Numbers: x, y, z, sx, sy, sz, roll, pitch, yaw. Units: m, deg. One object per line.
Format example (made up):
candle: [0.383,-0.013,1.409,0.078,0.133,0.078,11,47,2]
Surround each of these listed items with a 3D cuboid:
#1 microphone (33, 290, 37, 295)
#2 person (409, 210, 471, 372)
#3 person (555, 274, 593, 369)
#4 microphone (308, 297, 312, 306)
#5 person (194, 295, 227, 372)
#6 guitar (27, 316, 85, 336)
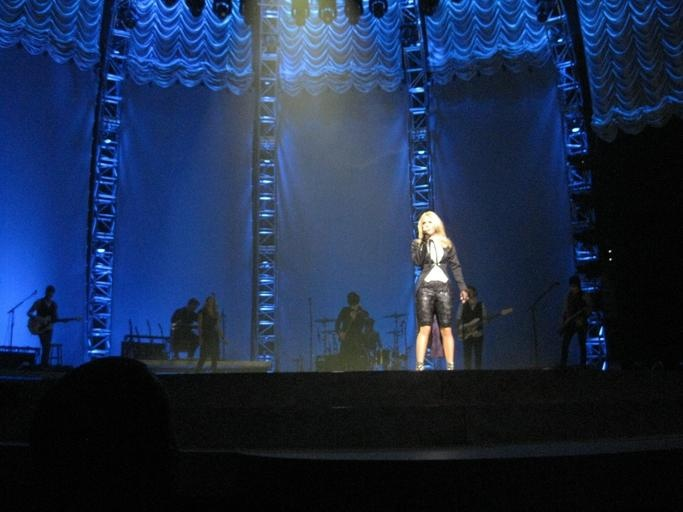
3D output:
microphone: [-5.295,0.615,12.911,0.069,0.076,0.026,1,-5,-21]
person: [1.162,0.379,9.026,0.697,1.935,0.584,0,-8,-6]
person: [3.656,1.003,11.683,0.555,1.404,0.513,-6,-9,32]
microphone: [-0.568,0.808,13.530,0.077,0.160,0.023,-4,-8,20]
person: [-2.088,1.205,11.914,0.395,1.227,0.928,0,-9,-10]
guitar: [-4.892,1.156,12.633,0.447,0.350,0.840,-9,-12,40]
